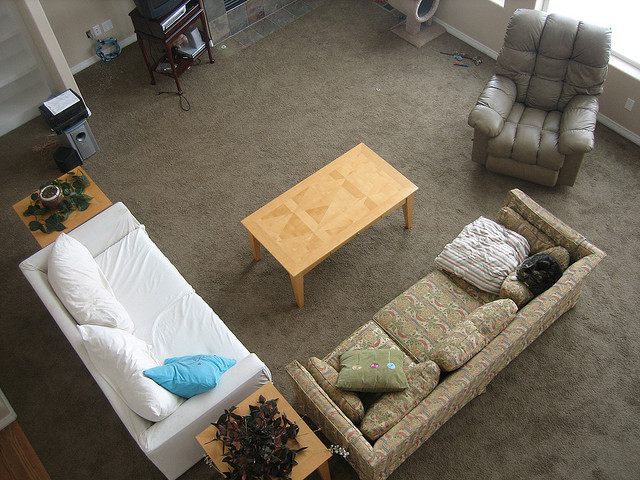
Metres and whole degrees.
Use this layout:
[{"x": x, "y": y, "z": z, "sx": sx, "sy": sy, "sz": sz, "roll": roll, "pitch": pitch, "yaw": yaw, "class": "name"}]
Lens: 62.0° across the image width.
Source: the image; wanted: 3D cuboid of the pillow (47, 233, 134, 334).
[{"x": -2.065, "y": 0.418, "z": 4.720, "sx": 0.433, "sy": 0.305, "sz": 0.965, "roll": -26, "pitch": 69, "yaw": -37, "class": "pillow"}]

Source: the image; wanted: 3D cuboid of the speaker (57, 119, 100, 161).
[{"x": -2.758, "y": -1.160, "z": 6.277, "sx": 0.256, "sy": 0.304, "sz": 0.259, "roll": -30, "pitch": 21, "yaw": -7, "class": "speaker"}]

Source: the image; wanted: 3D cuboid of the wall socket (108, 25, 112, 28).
[{"x": -2.758, "y": -2.810, "z": 6.980, "sx": 0.049, "sy": 0.031, "sz": 0.021, "roll": -34, "pitch": 26, "yaw": -33, "class": "wall socket"}]

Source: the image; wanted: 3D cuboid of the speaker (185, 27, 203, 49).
[{"x": -1.632, "y": -2.591, "z": 6.835, "sx": 0.148, "sy": 0.262, "sz": 0.142, "roll": 40, "pitch": 71, "yaw": 12, "class": "speaker"}]

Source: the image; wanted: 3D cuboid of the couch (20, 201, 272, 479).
[{"x": -1.450, "y": 1.506, "z": 6.028, "sx": 1.751, "sy": 1.538, "sz": 3.683, "roll": -34, "pitch": 70, "yaw": -20, "class": "couch"}]

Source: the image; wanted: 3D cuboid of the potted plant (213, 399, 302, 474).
[{"x": -0.482, "y": 1.463, "z": 3.971, "sx": 0.657, "sy": 0.203, "sz": 0.592, "roll": -11, "pitch": 52, "yaw": 0, "class": "potted plant"}]

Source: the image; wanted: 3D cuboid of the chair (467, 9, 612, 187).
[{"x": 2.407, "y": -1.506, "z": 5.865, "sx": 1.248, "sy": 1.348, "sz": 1.296, "roll": 18, "pitch": 56, "yaw": 20, "class": "chair"}]

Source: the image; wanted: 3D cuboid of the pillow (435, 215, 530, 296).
[{"x": 1.533, "y": 0.136, "z": 4.952, "sx": 0.673, "sy": 0.218, "sz": 0.719, "roll": 32, "pitch": 68, "yaw": 28, "class": "pillow"}]
